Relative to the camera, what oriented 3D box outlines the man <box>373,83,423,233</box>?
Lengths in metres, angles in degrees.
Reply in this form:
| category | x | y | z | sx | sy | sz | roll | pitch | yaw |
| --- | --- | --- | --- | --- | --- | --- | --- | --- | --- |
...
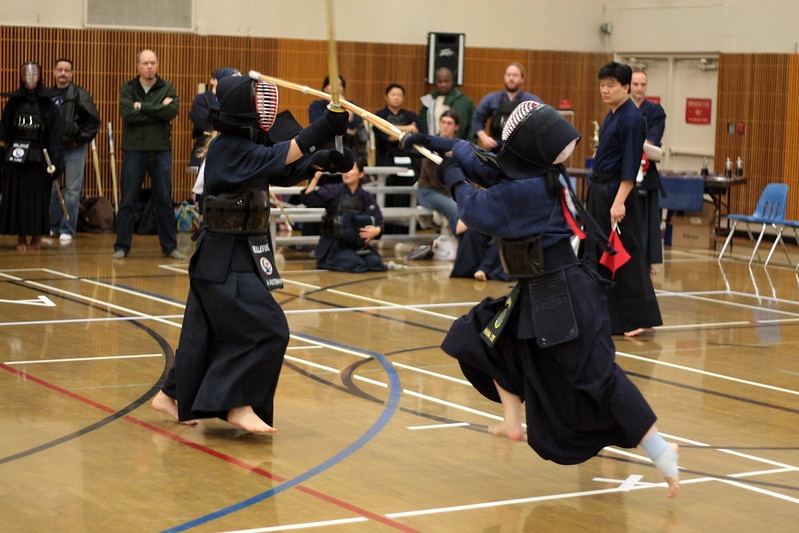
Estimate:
| category | x | y | z | sx | sy | sz | roll | pitch | yaw |
| --- | --- | --- | --- | --- | --- | --- | --- | --- | --- |
| man | -0.011 | -1.609 | 12.291 | 0.646 | 2.138 | 0.745 | 4 | 12 | 35 |

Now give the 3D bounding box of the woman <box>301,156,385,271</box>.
| category | x | y | z | sx | sy | sz | roll | pitch | yaw |
| --- | --- | --- | --- | --- | --- | --- | --- | --- | --- |
| woman | -0.676 | -0.656 | 10.261 | 1.079 | 1.364 | 0.947 | 4 | 6 | -1 |

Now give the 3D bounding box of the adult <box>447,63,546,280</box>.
| category | x | y | z | sx | sy | sz | roll | pitch | yaw |
| --- | --- | --- | --- | --- | --- | --- | --- | --- | --- |
| adult | 1.149 | -1.087 | 10.097 | 1.150 | 2.504 | 0.877 | 20 | 21 | 39 |

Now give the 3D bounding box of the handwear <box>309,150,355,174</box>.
| category | x | y | z | sx | sy | sz | roll | pitch | yaw |
| --- | --- | --- | --- | --- | --- | --- | --- | --- | --- |
| handwear | -0.438 | -0.675 | 5.329 | 0.179 | 0.077 | 0.180 | 0 | -6 | 14 |

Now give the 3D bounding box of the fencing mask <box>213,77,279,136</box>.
| category | x | y | z | sx | sy | sz | roll | pitch | yaw |
| --- | --- | --- | --- | --- | --- | --- | --- | --- | --- |
| fencing mask | -1.008 | -1.044 | 5.251 | 0.418 | 0.341 | 0.297 | 2 | 2 | 4 |

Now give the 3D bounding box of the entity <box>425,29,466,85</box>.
| category | x | y | z | sx | sy | sz | roll | pitch | yaw |
| --- | --- | --- | --- | --- | --- | --- | --- | --- | --- |
| entity | 0.837 | -3.736 | 14.635 | 0.664 | 0.897 | 0.637 | 4 | 23 | 5 |

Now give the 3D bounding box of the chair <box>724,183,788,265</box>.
| category | x | y | z | sx | sy | sz | roll | pitch | yaw |
| --- | --- | --- | --- | --- | --- | --- | --- | --- | --- |
| chair | 5.300 | -0.713 | 12.070 | 0.747 | 1.096 | 1.866 | 7 | 14 | 22 |

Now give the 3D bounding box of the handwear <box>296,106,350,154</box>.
| category | x | y | z | sx | sy | sz | roll | pitch | yaw |
| --- | --- | --- | --- | --- | --- | --- | --- | --- | --- |
| handwear | -0.467 | -0.847 | 5.086 | 0.362 | 0.165 | 0.215 | -32 | 26 | 19 |

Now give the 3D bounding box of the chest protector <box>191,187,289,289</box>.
| category | x | y | z | sx | sy | sz | roll | pitch | yaw |
| --- | --- | --- | --- | --- | --- | --- | --- | --- | --- |
| chest protector | -1.111 | -0.217 | 5.715 | 0.615 | 1.036 | 0.671 | -1 | 4 | -5 |

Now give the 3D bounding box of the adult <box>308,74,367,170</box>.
| category | x | y | z | sx | sy | sz | roll | pitch | yaw |
| --- | --- | --- | --- | --- | --- | --- | --- | --- | --- |
| adult | -0.793 | -1.838 | 11.624 | 0.637 | 1.774 | 0.486 | -11 | 26 | -2 |

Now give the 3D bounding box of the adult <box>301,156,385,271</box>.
| category | x | y | z | sx | sy | sz | roll | pitch | yaw |
| --- | --- | --- | --- | --- | --- | --- | --- | --- | --- |
| adult | -0.651 | -0.656 | 10.317 | 1.138 | 1.363 | 0.881 | 6 | 5 | 16 |

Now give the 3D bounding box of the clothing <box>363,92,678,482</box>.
| category | x | y | z | sx | sy | sz | roll | pitch | yaw |
| --- | --- | --- | --- | --- | --- | --- | --- | --- | --- |
| clothing | 0.878 | 0.095 | 4.730 | 1.428 | 2.023 | 0.626 | 5 | 13 | 15 |
